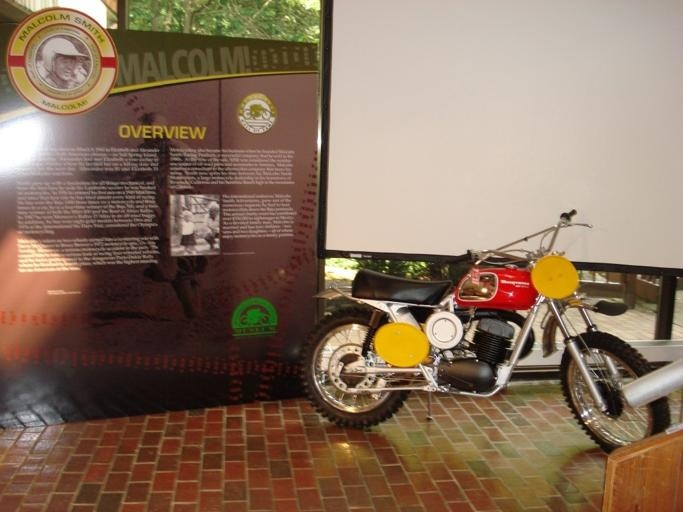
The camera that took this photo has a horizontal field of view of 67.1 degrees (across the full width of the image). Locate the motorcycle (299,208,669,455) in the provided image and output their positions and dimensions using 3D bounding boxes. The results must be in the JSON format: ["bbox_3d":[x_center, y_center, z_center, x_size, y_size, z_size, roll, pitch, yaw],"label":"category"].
[{"bbox_3d":[0.973,0.405,3.589,2.293,1.548,1.066,7,16,10],"label":"motorcycle"}]
